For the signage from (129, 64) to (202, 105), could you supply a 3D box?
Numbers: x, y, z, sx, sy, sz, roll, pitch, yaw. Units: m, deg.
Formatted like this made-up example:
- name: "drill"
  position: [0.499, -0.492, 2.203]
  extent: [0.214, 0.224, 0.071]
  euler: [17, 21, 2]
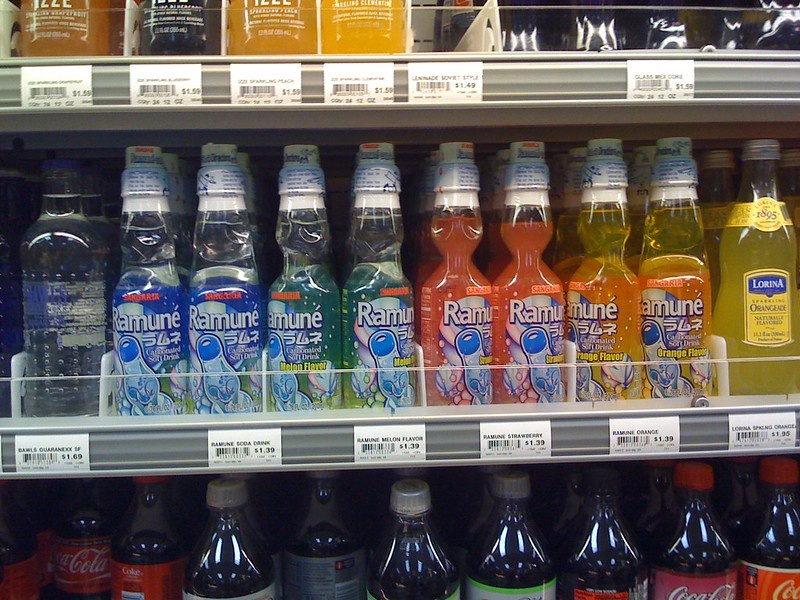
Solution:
- name: "signage"
  position: [-0.417, -0.388, 1.337]
  extent: [0.119, 0.077, 0.027]
  euler: [-1, -3, -2]

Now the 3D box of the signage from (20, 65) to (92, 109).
- name: "signage"
  position: [-0.613, -0.381, 1.382]
  extent: [0.126, 0.074, 0.011]
  euler: [-6, 3, 0]

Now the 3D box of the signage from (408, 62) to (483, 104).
- name: "signage"
  position: [0.079, -0.380, 1.437]
  extent: [0.138, 0.074, 0.030]
  euler: [0, -5, -3]

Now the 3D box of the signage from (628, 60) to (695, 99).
- name: "signage"
  position: [0.466, -0.402, 1.362]
  extent: [0.111, 0.071, 0.024]
  euler: [1, -5, 0]

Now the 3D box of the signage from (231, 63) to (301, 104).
- name: "signage"
  position: [-0.241, -0.389, 1.394]
  extent: [0.126, 0.062, 0.011]
  euler: [-6, 3, -2]

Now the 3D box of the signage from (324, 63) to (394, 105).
- name: "signage"
  position: [-0.073, -0.385, 1.450]
  extent: [0.118, 0.076, 0.026]
  euler: [1, -7, -1]
